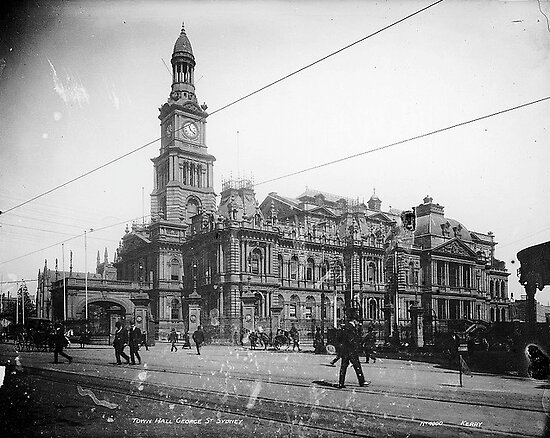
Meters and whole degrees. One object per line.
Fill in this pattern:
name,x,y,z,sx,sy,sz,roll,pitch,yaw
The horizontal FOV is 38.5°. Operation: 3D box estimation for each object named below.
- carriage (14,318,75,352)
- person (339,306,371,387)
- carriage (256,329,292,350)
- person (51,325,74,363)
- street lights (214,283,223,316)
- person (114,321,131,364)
carriage,-7.095,3.419,23.299,1.431,0.781,0.907,2,-14,36
person,1.983,3.379,20.767,0.715,2.073,0.882,-4,-12,16
carriage,-0.030,5.671,37.414,1.531,0.777,1.031,0,-11,5
person,-6.179,3.669,23.096,0.516,1.141,0.637,3,-13,-17
street lights,-3.526,5.150,49.870,0.462,2.024,0.900,1,-12,-7
person,-4.809,3.911,24.903,0.516,1.412,1.377,2,-13,-11
